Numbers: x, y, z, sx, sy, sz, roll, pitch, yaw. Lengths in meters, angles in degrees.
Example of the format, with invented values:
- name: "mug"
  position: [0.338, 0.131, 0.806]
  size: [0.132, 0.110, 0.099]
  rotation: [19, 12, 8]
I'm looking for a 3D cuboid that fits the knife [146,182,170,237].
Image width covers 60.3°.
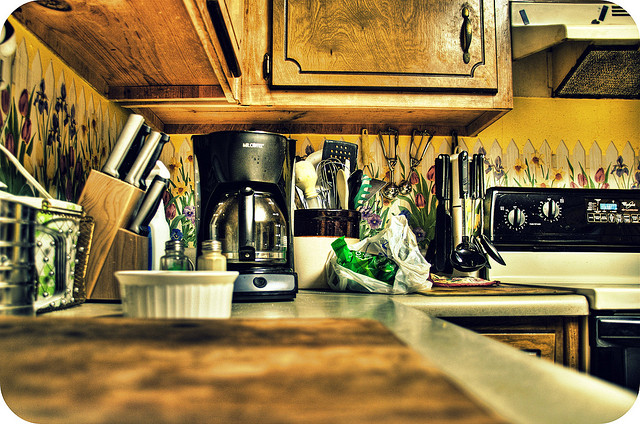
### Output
- name: "knife"
  position: [-0.419, -0.004, 1.416]
  size: [0.035, 0.154, 0.017]
  rotation: [26, -1, 19]

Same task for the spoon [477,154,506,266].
- name: "spoon"
  position: [0.558, -0.005, 1.827]
  size: [0.079, 0.368, 0.100]
  rotation: [-2, -2, -43]

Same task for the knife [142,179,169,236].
- name: "knife"
  position: [-0.402, -0.019, 1.385]
  size: [0.036, 0.162, 0.026]
  rotation: [18, -7, 18]

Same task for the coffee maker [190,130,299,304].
- name: "coffee maker"
  position: [-0.189, -0.012, 1.423]
  size: [0.287, 0.484, 0.319]
  rotation: [3, -9, -13]

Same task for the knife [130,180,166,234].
- name: "knife"
  position: [-0.418, -0.023, 1.376]
  size: [0.037, 0.161, 0.033]
  rotation: [36, -13, -25]

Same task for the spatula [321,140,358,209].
- name: "spatula"
  position: [0.062, -0.130, 1.874]
  size: [0.089, 0.231, 0.109]
  rotation: [2, 3, -36]

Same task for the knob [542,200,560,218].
- name: "knob"
  position: [0.776, -0.008, 1.855]
  size: [0.042, 0.056, 0.013]
  rotation: [5, -10, 9]

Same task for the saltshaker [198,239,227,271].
- name: "saltshaker"
  position: [-0.237, 0.095, 1.215]
  size: [0.065, 0.087, 0.061]
  rotation: [0, -7, -4]

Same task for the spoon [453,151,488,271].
- name: "spoon"
  position: [0.502, 0.003, 1.806]
  size: [0.084, 0.374, 0.176]
  rotation: [-8, -12, 43]

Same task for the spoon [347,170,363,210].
- name: "spoon"
  position: [0.108, -0.080, 1.811]
  size: [0.037, 0.145, 0.021]
  rotation: [7, 9, 9]

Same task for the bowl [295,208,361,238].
- name: "bowl"
  position: [0.021, 0.041, 1.751]
  size: [0.220, 0.087, 0.221]
  rotation: [1, -1, 0]
